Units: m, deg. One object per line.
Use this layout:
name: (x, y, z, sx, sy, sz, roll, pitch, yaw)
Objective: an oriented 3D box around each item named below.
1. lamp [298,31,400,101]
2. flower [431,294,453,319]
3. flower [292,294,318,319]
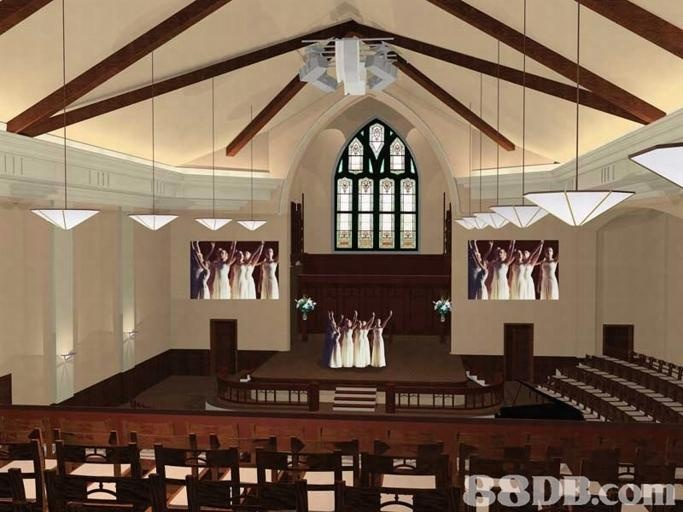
lamp: (0.188, -4.036, 13.295, 1.952, 0.844, 1.816, -2, 23, 9)
flower: (2.986, 1.507, 20.374, 0.559, 0.818, 0.595, 0, 0, -24)
flower: (-1.065, 1.489, 20.659, 0.654, 0.802, 0.630, 0, -3, 0)
